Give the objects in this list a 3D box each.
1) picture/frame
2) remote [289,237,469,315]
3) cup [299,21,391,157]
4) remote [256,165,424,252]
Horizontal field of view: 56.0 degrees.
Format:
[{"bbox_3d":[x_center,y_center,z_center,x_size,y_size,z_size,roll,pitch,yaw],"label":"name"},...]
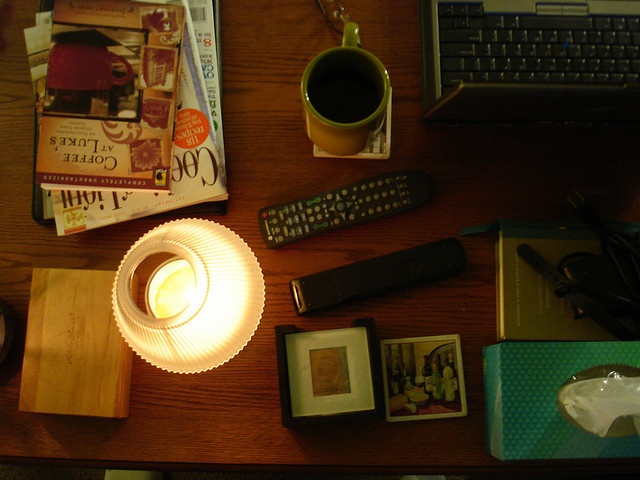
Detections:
[{"bbox_3d":[0.169,0.234,0.997,0.150,0.006,0.131,-3,83,1],"label":"picture/frame"},{"bbox_3d":[0.097,0.061,1.018,0.299,0.027,0.066,-15,84,-4],"label":"remote"},{"bbox_3d":[0.038,-0.231,0.966,0.146,0.140,0.195,4,94,4],"label":"cup"},{"bbox_3d":[-0.008,-0.060,1.079,0.384,0.065,0.100,-12,89,1],"label":"remote"}]
